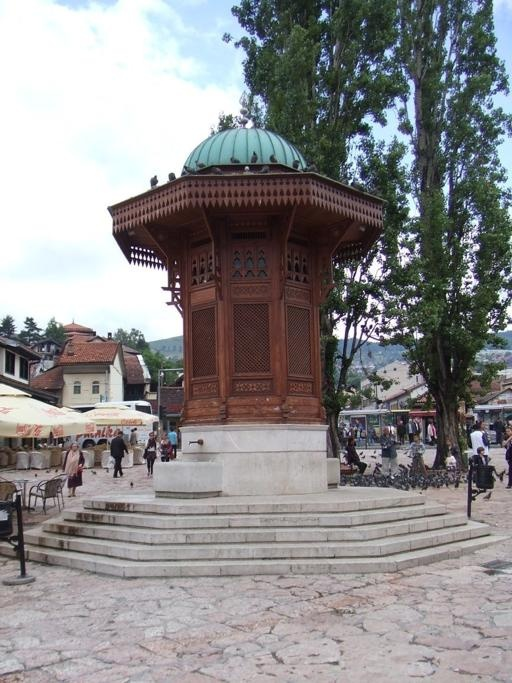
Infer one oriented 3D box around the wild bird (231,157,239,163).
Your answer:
[{"bbox_3d":[-0.347,-3.066,11.161,0.065,0.105,0.194,2,9,32],"label":"wild bird"}]
